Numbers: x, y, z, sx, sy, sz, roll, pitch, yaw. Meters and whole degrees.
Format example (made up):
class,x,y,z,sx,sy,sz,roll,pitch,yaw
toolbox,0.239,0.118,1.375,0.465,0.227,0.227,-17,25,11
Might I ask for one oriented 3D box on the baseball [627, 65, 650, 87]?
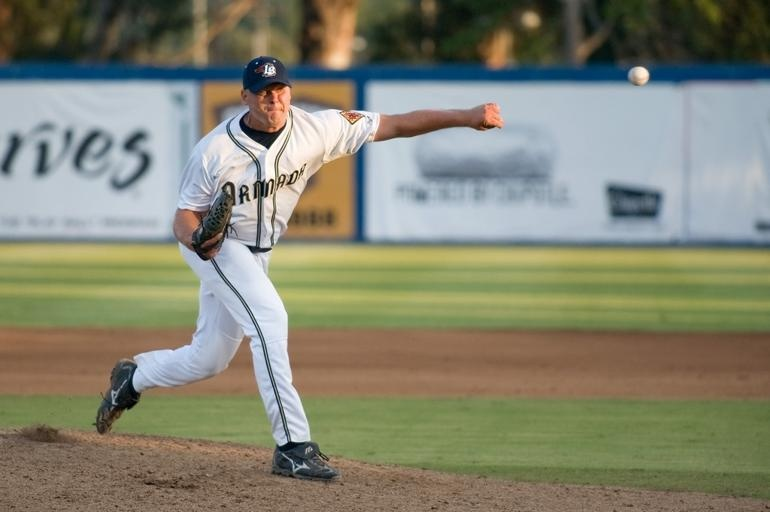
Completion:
class,x,y,z,sx,sy,sz,roll,pitch,yaw
baseball,2.668,-1.840,17.124,0.244,0.227,0.292,-1,4,-6

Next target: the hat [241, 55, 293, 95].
class,x,y,z,sx,sy,sz,roll,pitch,yaw
hat,-1.228,-1.753,16.067,0.319,0.240,0.430,-7,5,-21

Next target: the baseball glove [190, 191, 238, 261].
class,x,y,z,sx,sy,sz,roll,pitch,yaw
baseball glove,-1.692,-0.306,16.037,0.416,0.626,0.320,21,5,-44
